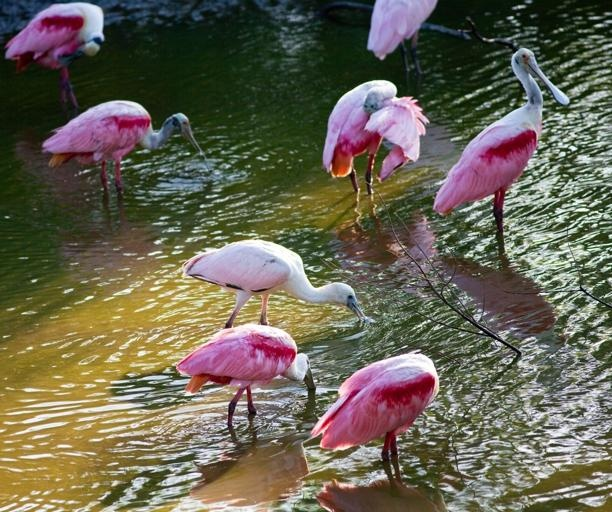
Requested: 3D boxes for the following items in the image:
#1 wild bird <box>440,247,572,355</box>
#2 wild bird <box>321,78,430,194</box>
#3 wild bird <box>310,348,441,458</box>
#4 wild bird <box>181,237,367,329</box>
[{"bbox_3d":[1.774,0.335,7.276,0.814,0.417,1.271,-40,66,-19],"label":"wild bird"},{"bbox_3d":[0.840,-1.432,9.582,1.122,1.103,1.206,8,45,4],"label":"wild bird"},{"bbox_3d":[0.497,0.905,5.556,0.945,0.691,0.508,-12,21,-8],"label":"wild bird"},{"bbox_3d":[-0.313,0.238,6.842,1.419,0.680,0.584,0,45,-4],"label":"wild bird"}]
